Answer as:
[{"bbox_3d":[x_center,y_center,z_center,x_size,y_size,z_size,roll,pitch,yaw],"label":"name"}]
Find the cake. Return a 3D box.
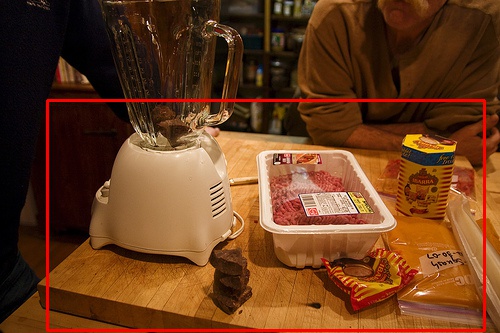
[{"bbox_3d":[-0.054,0.298,1.063,0.120,0.154,0.152,0,20,-1],"label":"cake"}]
